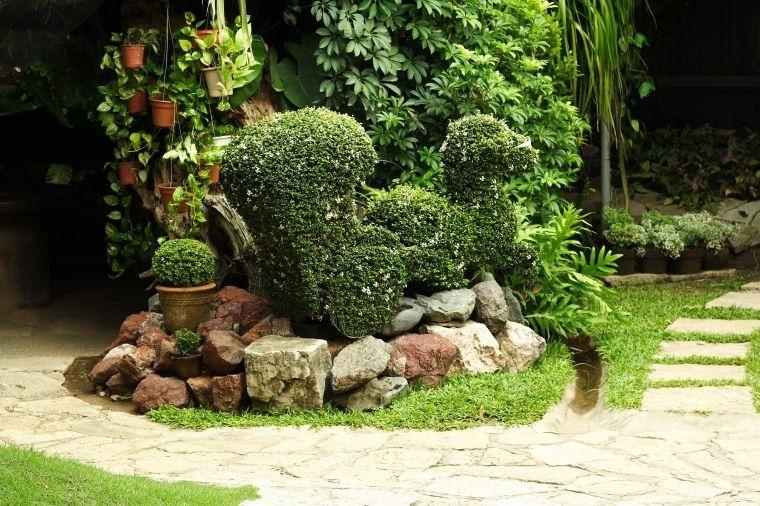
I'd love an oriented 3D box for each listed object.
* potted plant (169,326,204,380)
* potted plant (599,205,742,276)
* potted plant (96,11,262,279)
[{"bbox_3d":[-1.877,1.022,7.884,0.344,0.440,0.352,0,-6,-35],"label":"potted plant"},{"bbox_3d":[4.247,-0.172,11.418,1.324,0.611,1.246,0,0,-4],"label":"potted plant"},{"bbox_3d":[-2.389,-1.229,8.929,1.563,2.946,1.965,-6,6,-34],"label":"potted plant"}]
